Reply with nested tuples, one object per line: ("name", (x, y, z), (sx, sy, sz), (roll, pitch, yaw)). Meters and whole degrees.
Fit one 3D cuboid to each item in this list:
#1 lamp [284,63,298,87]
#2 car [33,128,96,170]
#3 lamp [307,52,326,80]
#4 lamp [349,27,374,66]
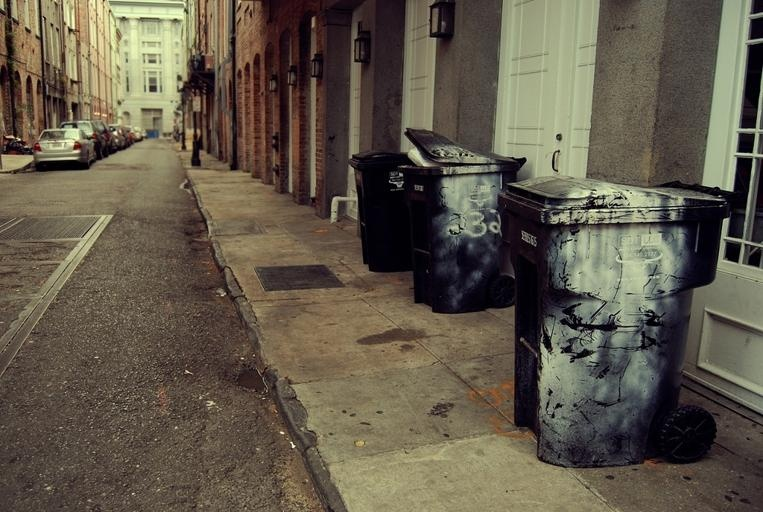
("lamp", (-2.208, -4.581, 15.211), (0.115, 0.494, 0.375), (-11, 18, -38))
("car", (-13.283, -4.502, 25.158), (1.837, 1.606, 2.490), (-3, 15, -15))
("lamp", (-1.321, -3.963, 12.466), (0.197, 0.561, 0.536), (-2, 15, -11))
("lamp", (-0.287, -3.674, 10.652), (0.338, 0.538, 0.376), (5, 4, 8))
